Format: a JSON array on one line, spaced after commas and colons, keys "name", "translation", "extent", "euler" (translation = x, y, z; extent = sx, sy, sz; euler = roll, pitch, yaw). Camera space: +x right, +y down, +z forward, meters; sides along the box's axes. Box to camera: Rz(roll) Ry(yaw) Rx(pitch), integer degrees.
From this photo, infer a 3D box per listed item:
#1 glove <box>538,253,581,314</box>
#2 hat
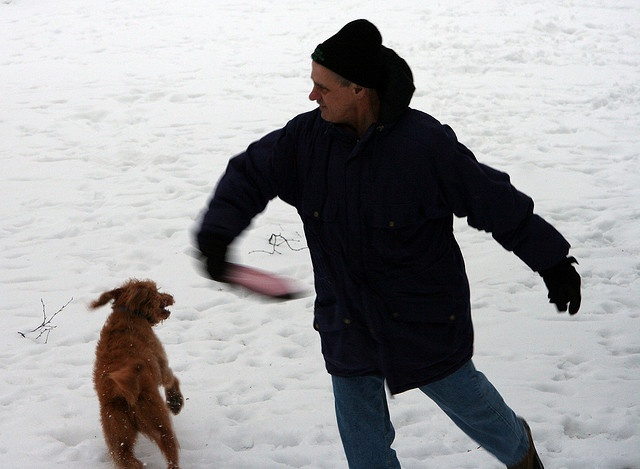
[{"name": "glove", "translation": [2.162, 0.437, 6.807], "extent": [0.351, 0.516, 0.189], "euler": [-19, 6, 25]}, {"name": "hat", "translation": [0.247, -1.561, 6.741], "extent": [0.632, 0.581, 0.288], "euler": [-4, 20, -5]}]
